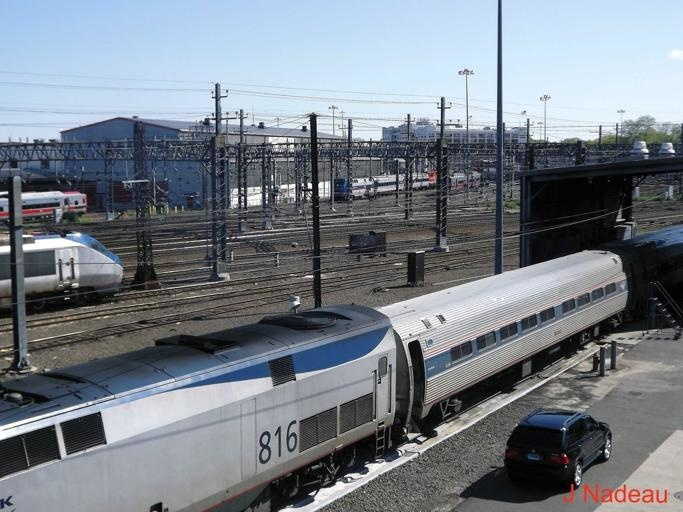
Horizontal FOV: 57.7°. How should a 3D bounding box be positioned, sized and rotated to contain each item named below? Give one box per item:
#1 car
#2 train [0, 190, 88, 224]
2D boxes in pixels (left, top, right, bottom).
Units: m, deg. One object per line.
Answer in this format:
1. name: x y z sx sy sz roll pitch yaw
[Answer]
1. car: 5.684 4.755 16.041 1.528 0.868 2.851 3 10 35
2. train: -36.427 -6.299 78.314 4.046 3.514 9.908 5 11 25
